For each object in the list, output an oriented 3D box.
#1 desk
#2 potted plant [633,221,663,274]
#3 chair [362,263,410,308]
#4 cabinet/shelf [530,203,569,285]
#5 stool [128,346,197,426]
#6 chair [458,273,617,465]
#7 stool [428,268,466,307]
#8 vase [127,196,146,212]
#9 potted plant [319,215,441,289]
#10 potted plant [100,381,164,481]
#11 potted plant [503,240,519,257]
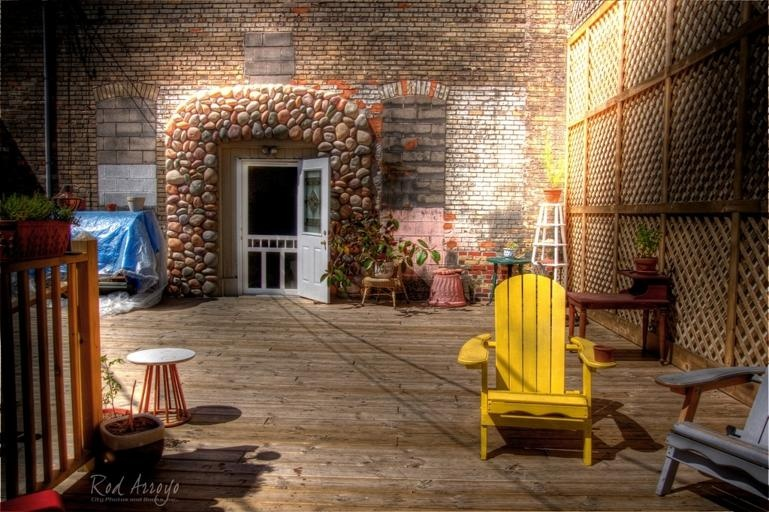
[{"bbox_3d":[2.922,0.837,8.647,1.023,1.127,1.400,1,-3,12],"label":"desk"},{"bbox_3d":[3.175,-0.030,8.147,0.273,0.507,0.299,2,2,-26],"label":"potted plant"},{"bbox_3d":[-0.120,0.362,11.134,0.711,0.903,0.703,0,2,0],"label":"chair"},{"bbox_3d":[2.751,-0.409,11.363,0.459,1.338,0.455,4,1,32],"label":"cabinet/shelf"},{"bbox_3d":[-2.209,1.340,6.517,0.575,0.602,0.565,1,1,-14],"label":"stool"},{"bbox_3d":[1.283,0.989,5.972,1.240,1.378,1.108,0,7,9],"label":"chair"},{"bbox_3d":[0.980,0.576,11.448,0.660,0.703,0.706,4,-9,-29],"label":"stool"},{"bbox_3d":[-4.280,-0.880,11.322,0.284,0.208,0.287,1,3,29],"label":"vase"},{"bbox_3d":[-0.363,-0.135,11.269,1.624,0.728,1.422,0,6,11],"label":"potted plant"},{"bbox_3d":[-2.197,1.532,5.729,0.423,0.684,0.602,9,9,32],"label":"potted plant"},{"bbox_3d":[1.983,-0.128,11.111,0.262,0.288,0.260,0,2,27],"label":"potted plant"}]
